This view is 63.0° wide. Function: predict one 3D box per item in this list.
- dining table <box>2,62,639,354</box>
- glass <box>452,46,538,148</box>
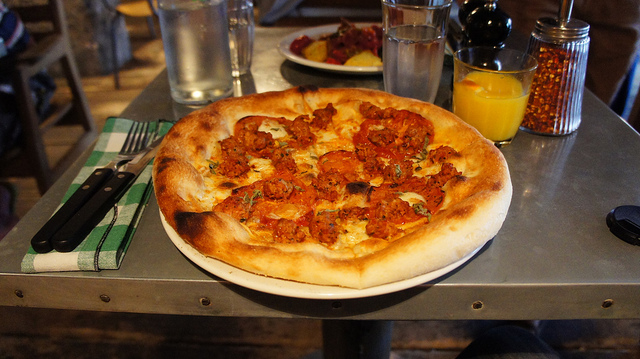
[{"bbox_3d":[0.086,0.076,2.059,1.362,1.134,1.207,1,38,2],"label":"dining table"},{"bbox_3d":[0.547,-0.317,1.991,0.386,0.373,0.350,-1,35,2],"label":"glass"}]
